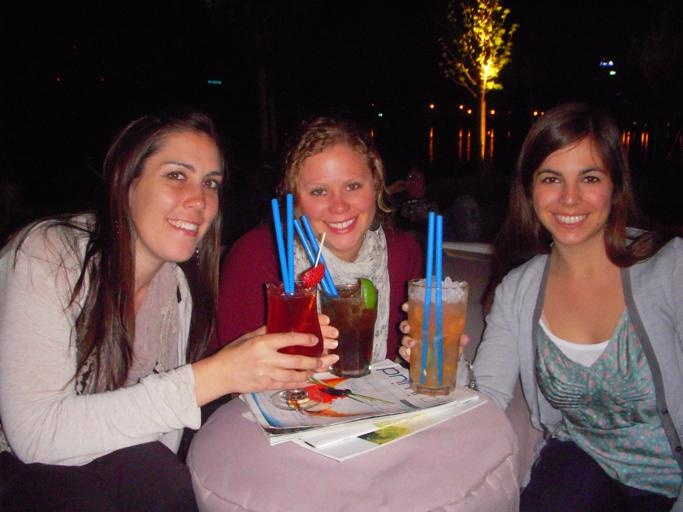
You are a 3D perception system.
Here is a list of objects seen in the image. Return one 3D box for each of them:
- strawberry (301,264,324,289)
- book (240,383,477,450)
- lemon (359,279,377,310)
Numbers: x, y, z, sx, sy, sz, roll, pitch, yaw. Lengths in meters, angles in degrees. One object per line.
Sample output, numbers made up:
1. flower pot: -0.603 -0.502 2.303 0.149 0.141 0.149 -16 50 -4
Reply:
1. strawberry: -0.130 0.073 2.125 0.035 0.105 0.081 19 -22 52
2. book: 0.044 0.596 2.008 0.384 0.047 0.388 -9 14 -31
3. lemon: 0.108 0.164 2.316 0.101 0.161 0.209 -1 -7 -4
